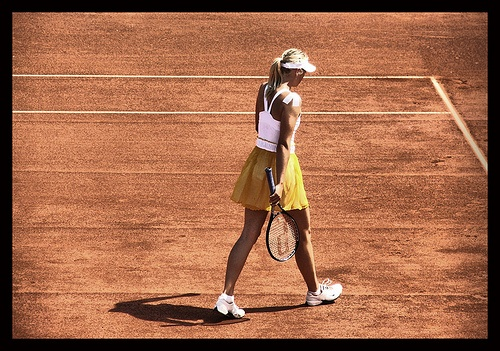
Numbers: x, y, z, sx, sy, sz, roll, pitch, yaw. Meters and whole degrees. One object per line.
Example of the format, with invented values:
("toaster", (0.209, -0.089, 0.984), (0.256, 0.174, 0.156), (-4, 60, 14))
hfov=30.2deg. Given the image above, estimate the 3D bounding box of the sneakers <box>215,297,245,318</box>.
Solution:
("sneakers", (-0.217, 1.597, 11.043), (0.435, 0.191, 0.166), (27, 6, -40))
